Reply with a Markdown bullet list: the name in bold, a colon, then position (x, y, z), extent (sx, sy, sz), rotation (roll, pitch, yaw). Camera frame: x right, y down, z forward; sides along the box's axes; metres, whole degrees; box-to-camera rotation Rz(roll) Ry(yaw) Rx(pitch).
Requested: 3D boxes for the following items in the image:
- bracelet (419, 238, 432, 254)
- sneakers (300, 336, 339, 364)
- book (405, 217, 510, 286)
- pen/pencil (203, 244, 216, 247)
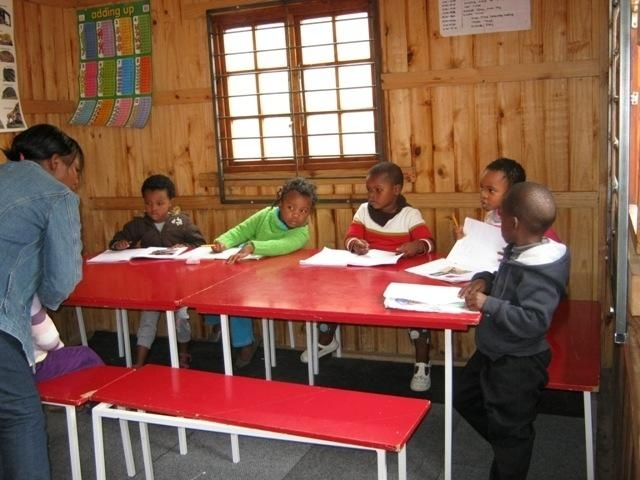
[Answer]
- **bracelet**: position (0.627, 0.037, 2.908), extent (0.074, 0.074, 0.068), rotation (-18, -4, 33)
- **sneakers**: position (0.036, 0.754, 3.442), extent (0.120, 0.120, 0.351), rotation (5, 7, 41)
- **book**: position (0.717, 0.065, 2.471), extent (0.406, 0.145, 0.367), rotation (-22, 18, -35)
- **pen/pencil**: position (-0.751, 0.039, 3.361), extent (0.014, 0.010, 0.083), rotation (3, -1, -45)
